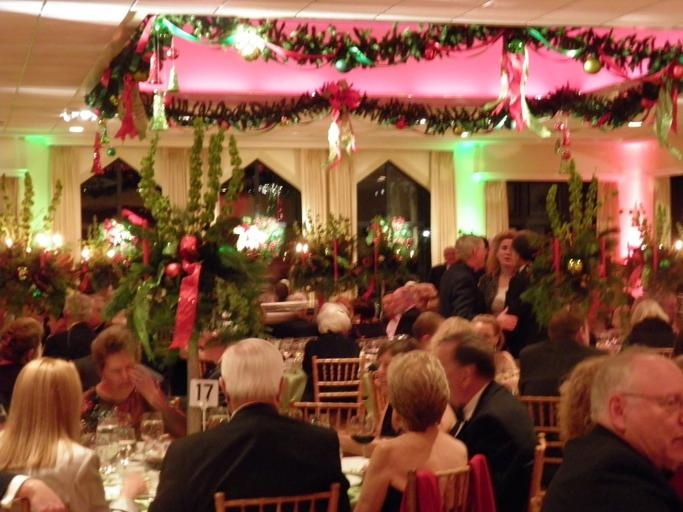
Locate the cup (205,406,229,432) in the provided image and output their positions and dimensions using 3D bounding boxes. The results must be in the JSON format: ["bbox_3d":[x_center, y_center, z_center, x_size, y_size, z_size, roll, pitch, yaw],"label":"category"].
[{"bbox_3d":[-0.598,0.781,3.053,0.126,0.087,0.170,1,-9,-1],"label":"cup"}]

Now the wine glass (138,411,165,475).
[{"bbox_3d":[-0.912,0.892,3.040,0.112,0.279,0.111,1,-1,-27],"label":"wine glass"}]

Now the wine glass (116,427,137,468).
[{"bbox_3d":[-1.034,0.949,3.047,0.094,0.249,0.103,3,-5,-16],"label":"wine glass"}]
